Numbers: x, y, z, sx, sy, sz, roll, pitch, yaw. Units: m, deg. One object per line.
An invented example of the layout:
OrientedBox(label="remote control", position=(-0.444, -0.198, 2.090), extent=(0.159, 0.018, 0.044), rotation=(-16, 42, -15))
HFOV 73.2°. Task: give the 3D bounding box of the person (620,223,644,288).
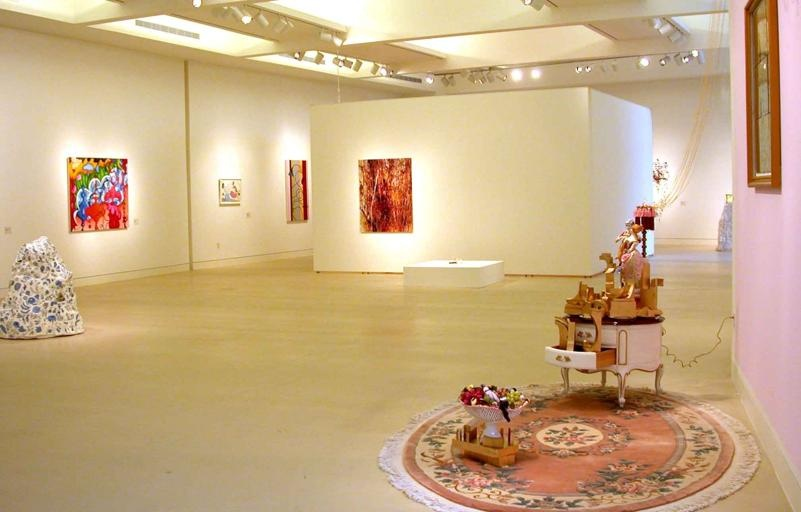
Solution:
OrientedBox(label="person", position=(2.669, -0.026, 6.214), extent=(0.240, 0.720, 0.822), rotation=(3, 9, 32))

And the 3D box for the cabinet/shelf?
OrientedBox(label="cabinet/shelf", position=(2.199, 0.989, 5.773), extent=(1.140, 0.762, 0.928), rotation=(0, 0, -44))

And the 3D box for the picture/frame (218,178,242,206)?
OrientedBox(label="picture/frame", position=(-5.731, -2.147, 18.024), extent=(0.100, 0.954, 0.976), rotation=(0, 3, 34))

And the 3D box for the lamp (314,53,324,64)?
OrientedBox(label="lamp", position=(-2.488, -6.031, 16.361), extent=(0.246, 0.391, 0.542), rotation=(-3, 8, -10))
